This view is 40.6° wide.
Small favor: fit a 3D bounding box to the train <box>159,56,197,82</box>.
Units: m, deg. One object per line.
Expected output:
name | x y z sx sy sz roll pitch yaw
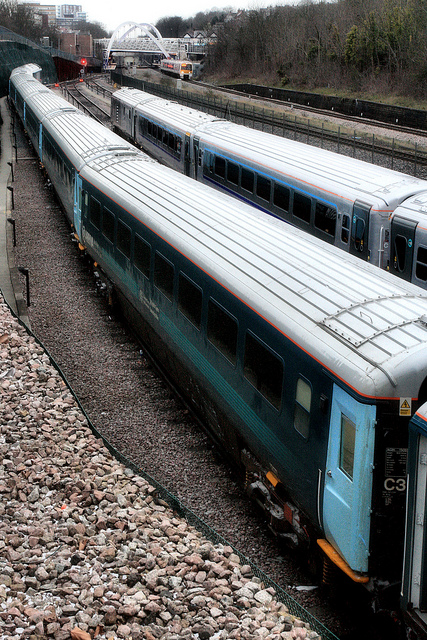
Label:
train | -5.772 -43.721 100.786 2.990 3.976 15.911 -7 26 -17
